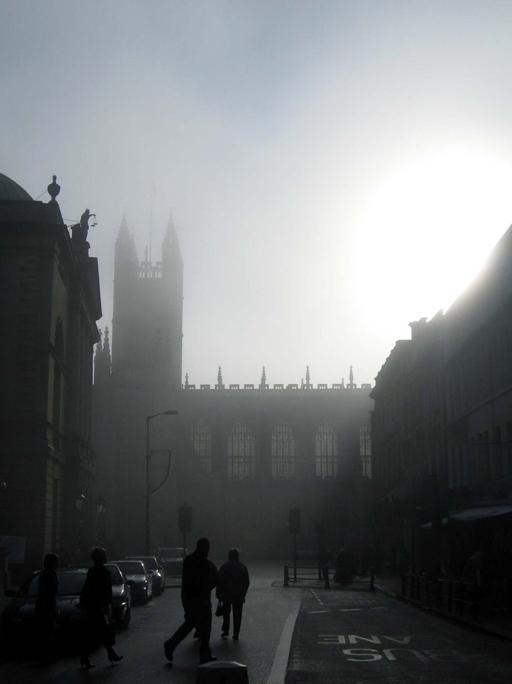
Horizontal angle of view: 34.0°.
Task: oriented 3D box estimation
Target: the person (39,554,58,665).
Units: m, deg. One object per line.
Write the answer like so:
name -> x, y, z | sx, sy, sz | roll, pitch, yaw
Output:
person -> -2.688, 3.450, 10.785 | 0.254, 1.357, 0.391 | 3, -10, -17

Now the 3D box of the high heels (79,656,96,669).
high heels -> -2.035, 3.898, 10.117 | 0.144, 0.132, 0.430 | 2, -16, -9

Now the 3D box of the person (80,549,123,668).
person -> -1.956, 3.314, 10.412 | 0.496, 1.421, 0.461 | 5, -11, -26
